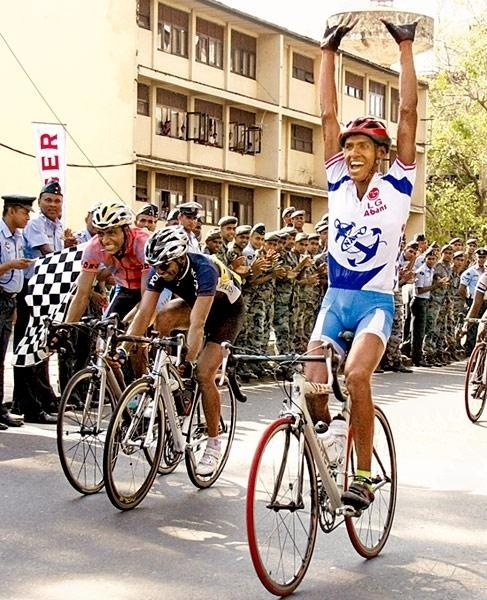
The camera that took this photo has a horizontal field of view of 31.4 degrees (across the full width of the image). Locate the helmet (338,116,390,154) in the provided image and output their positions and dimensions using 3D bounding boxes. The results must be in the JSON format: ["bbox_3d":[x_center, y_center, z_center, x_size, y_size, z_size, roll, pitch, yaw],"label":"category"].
[{"bbox_3d":[0.641,-0.863,4.448,0.156,0.109,0.215,11,-9,34],"label":"helmet"}]

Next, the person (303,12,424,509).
[{"bbox_3d":[0.588,-0.207,4.475,0.518,2.376,0.611,-2,7,-39],"label":"person"}]

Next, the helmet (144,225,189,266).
[{"bbox_3d":[-0.486,-0.381,5.595,0.217,0.123,0.304,14,36,27],"label":"helmet"}]

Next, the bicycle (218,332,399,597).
[{"bbox_3d":[0.366,0.755,4.204,0.679,0.905,1.318,3,1,12],"label":"bicycle"}]

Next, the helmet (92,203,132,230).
[{"bbox_3d":[-0.952,-0.603,6.322,0.195,0.118,0.277,-2,11,15],"label":"helmet"}]

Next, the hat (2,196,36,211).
[{"bbox_3d":[-2.149,-0.923,8.275,0.281,0.153,0.351,2,1,-13],"label":"hat"}]
